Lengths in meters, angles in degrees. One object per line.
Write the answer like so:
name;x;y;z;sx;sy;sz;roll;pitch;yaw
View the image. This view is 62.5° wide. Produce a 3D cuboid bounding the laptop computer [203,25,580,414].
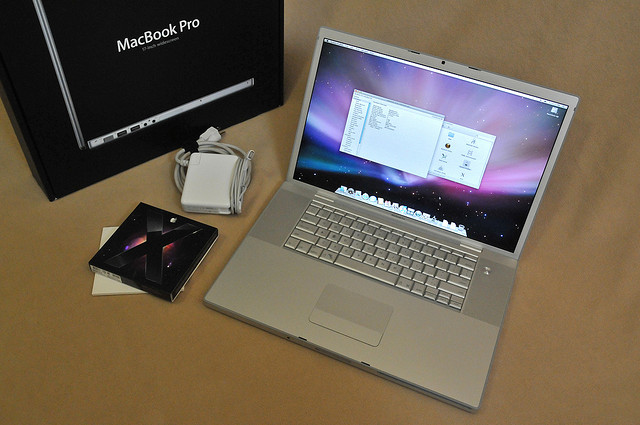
laptop computer;0.144;-0.030;1.011;0.538;0.338;0.558;18;45;14
